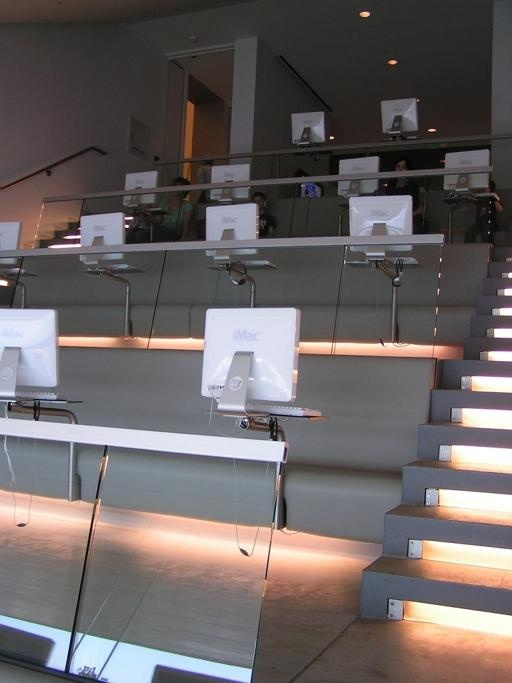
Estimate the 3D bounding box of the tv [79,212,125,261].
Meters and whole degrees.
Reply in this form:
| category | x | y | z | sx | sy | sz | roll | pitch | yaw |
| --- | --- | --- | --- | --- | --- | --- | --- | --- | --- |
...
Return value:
| category | x | y | z | sx | sy | sz | roll | pitch | yaw |
| --- | --- | --- | --- | --- | --- | --- | --- | --- | --- |
| tv | -0.809 | -0.548 | 3.250 | 0.322 | 0.278 | 0.106 | 0 | -2 | 17 |

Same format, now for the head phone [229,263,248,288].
| category | x | y | z | sx | sy | sz | roll | pitch | yaw |
| --- | --- | --- | --- | --- | --- | --- | --- | --- | --- |
| head phone | -0.066 | -0.327 | 2.952 | 0.088 | 0.098 | 0.105 | -1 | -6 | 5 |

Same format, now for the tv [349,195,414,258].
| category | x | y | z | sx | sy | sz | roll | pitch | yaw |
| --- | --- | --- | --- | --- | --- | --- | --- | --- | --- |
| tv | 0.558 | -0.501 | 2.705 | 0.315 | 0.245 | 0.103 | 4 | 9 | 23 |

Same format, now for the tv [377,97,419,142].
| category | x | y | z | sx | sy | sz | roll | pitch | yaw |
| --- | --- | --- | --- | --- | --- | --- | --- | --- | --- |
| tv | 1.298 | -2.002 | 5.526 | 0.294 | 0.483 | 0.239 | -5 | -7 | 19 |

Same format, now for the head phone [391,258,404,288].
| category | x | y | z | sx | sy | sz | roll | pitch | yaw |
| --- | --- | --- | --- | --- | --- | --- | --- | --- | --- |
| head phone | 0.651 | -0.319 | 2.837 | 0.074 | 0.117 | 0.034 | 1 | 4 | 43 |

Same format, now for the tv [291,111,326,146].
| category | x | y | z | sx | sy | sz | roll | pitch | yaw |
| --- | --- | --- | --- | --- | --- | --- | --- | --- | --- |
| tv | 0.504 | -2.078 | 5.992 | 0.361 | 0.378 | 0.230 | -4 | -7 | 17 |

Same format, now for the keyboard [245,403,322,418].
| category | x | y | z | sx | sy | sz | roll | pitch | yaw |
| --- | --- | --- | --- | --- | --- | --- | --- | --- | --- |
| keyboard | 0.089 | 0.226 | 1.974 | 0.229 | 0.045 | 0.104 | -2 | -6 | 4 |
